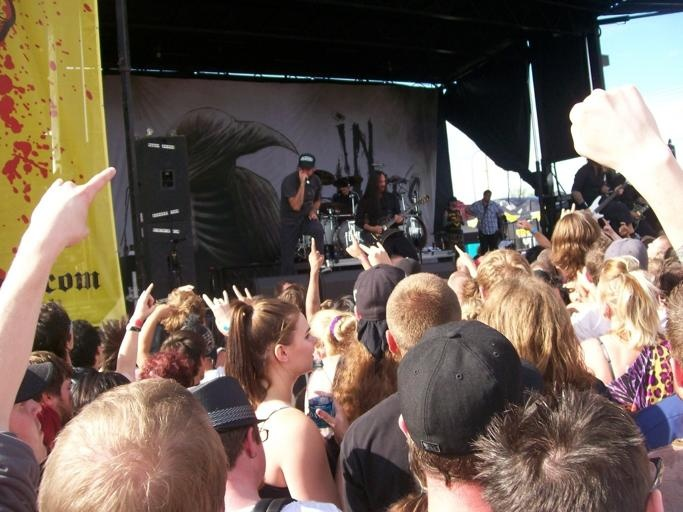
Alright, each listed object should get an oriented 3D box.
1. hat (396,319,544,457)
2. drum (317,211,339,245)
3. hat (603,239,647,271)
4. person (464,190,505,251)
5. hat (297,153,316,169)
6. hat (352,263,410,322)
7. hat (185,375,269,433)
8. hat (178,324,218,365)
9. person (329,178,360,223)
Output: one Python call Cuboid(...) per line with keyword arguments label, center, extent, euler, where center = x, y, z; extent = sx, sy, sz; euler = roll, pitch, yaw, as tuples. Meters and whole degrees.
Cuboid(label="hat", center=(0.338, 0.345, 1.620), extent=(0.313, 0.298, 0.476), euler=(4, 4, 30))
Cuboid(label="drum", center=(-0.221, -0.497, 10.192), extent=(0.392, 0.702, 0.451), euler=(-2, -3, 5))
Cuboid(label="hat", center=(1.506, -0.002, 2.995), extent=(0.108, 0.225, 0.096), euler=(-3, -26, 0))
Cuboid(label="person", center=(3.166, -0.547, 12.223), extent=(0.730, 1.796, 0.458), euler=(-3, 15, 17))
Cuboid(label="hat", center=(-0.550, -1.498, 8.881), extent=(0.232, 0.274, 0.782), euler=(-1, 0, -6))
Cuboid(label="hat", center=(0.195, 0.149, 2.650), extent=(0.236, 0.223, 0.360), euler=(-5, 13, 27))
Cuboid(label="hat", center=(-0.382, 0.475, 1.830), extent=(0.249, 0.154, 0.331), euler=(-2, -15, -39))
Cuboid(label="hat", center=(-0.733, 0.455, 2.860), extent=(0.134, 0.239, 0.212), euler=(-14, 27, -10))
Cuboid(label="person", center=(0.105, -1.107, 10.912), extent=(0.671, 0.901, 0.695), euler=(-3, 26, -12))
